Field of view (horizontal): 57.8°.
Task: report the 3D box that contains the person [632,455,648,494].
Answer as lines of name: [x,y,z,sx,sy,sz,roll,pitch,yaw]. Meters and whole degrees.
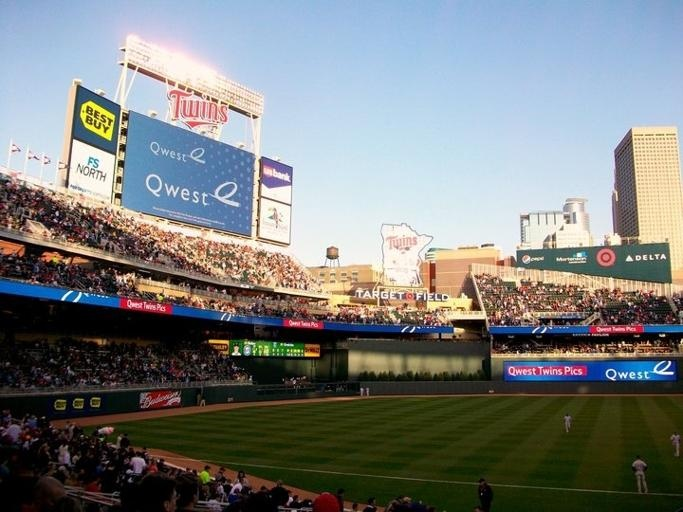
person: [11.735,8.547,24.389,0.476,1.250,1.855,-6,-9,25]
